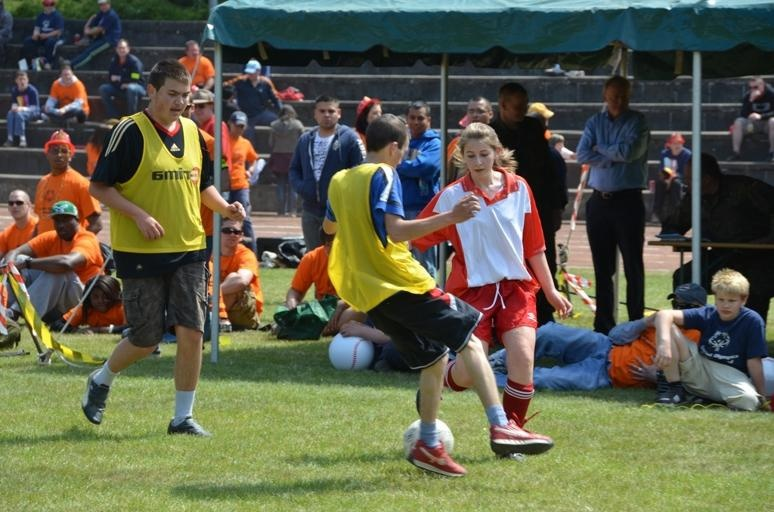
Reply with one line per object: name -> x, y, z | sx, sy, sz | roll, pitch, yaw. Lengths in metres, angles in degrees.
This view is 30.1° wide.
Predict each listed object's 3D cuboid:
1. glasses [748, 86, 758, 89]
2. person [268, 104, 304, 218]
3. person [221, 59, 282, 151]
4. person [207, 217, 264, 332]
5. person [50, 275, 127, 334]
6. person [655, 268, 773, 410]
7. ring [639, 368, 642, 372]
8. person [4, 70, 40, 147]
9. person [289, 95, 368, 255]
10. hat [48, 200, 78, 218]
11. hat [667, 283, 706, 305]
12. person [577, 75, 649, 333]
glasses -> 7.153, -3.293, 28.285 | 0.162, 0.060, 0.283 | 3, 9, 5
person -> -1.910, -1.921, 29.115 | 0.882, 2.172, 0.911 | 3, 5, 27
person -> -2.779, -2.995, 29.767 | 1.267, 1.969, 1.048 | -10, -2, 2
person -> -2.005, 0.217, 18.530 | 0.672, 1.478, 0.679 | 2, -2, 0
person -> -3.638, 0.645, 18.246 | 1.035, 0.684, 1.272 | -3, 3, 9
person -> 3.533, 0.894, 15.628 | 1.273, 1.498, 0.522 | 4, 1, 6
ring -> 2.822, 1.265, 16.111 | 0.045, 0.034, 0.005 | 4, 1, 22
person -> -7.989, -3.257, 31.576 | 0.734, 1.626, 0.754 | -10, -6, 42
person -> -0.787, -0.687, 18.436 | 1.173, 2.691, 0.821 | 1, 3, 40
hat -> -4.048, -0.593, 18.168 | 0.331, 0.180, 0.253 | 3, 1, -17
hat -> 3.378, 0.437, 16.249 | 0.340, 0.163, 0.231 | 13, -1, -8
person -> 2.837, -0.559, 17.901 | 0.981, 3.226, 1.036 | 1, 2, -27
